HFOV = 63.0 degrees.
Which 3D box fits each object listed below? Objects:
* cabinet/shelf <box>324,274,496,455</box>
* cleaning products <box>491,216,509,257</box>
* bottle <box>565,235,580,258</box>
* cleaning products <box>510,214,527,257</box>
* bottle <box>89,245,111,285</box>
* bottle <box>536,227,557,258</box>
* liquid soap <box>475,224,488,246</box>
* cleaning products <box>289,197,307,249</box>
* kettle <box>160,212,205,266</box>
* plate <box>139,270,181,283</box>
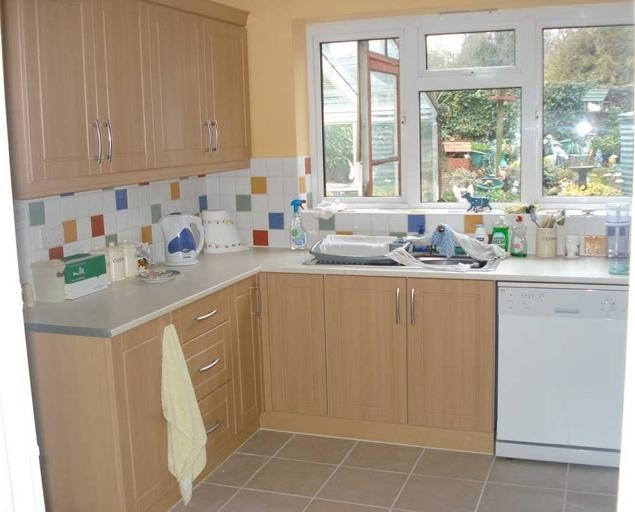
[{"bbox_3d":[0.554,0.590,2.926,0.961,0.940,0.380,1,4,15],"label":"cabinet/shelf"},{"bbox_3d":[1.106,-0.123,3.133,0.110,0.206,0.222,1,10,19],"label":"cleaning products"},{"bbox_3d":[1.492,-0.054,3.031,0.076,0.123,0.043,-1,10,6],"label":"bottle"},{"bbox_3d":[1.216,-0.123,3.132,0.093,0.241,0.128,2,10,22],"label":"cleaning products"},{"bbox_3d":[-1.175,0.049,2.788,0.091,0.194,0.353,-6,10,-23],"label":"bottle"},{"bbox_3d":[1.349,-0.079,3.054,0.112,0.174,0.061,1,10,17],"label":"bottle"},{"bbox_3d":[1.003,-0.130,3.182,0.080,0.119,0.203,1,10,17],"label":"liquid soap"},{"bbox_3d":[-0.146,-0.223,3.577,0.114,0.341,0.203,-2,10,-3],"label":"cleaning products"},{"bbox_3d":[-0.834,-0.117,3.292,0.324,0.375,0.253,1,10,-2],"label":"kettle"},{"bbox_3d":[-0.886,0.110,2.862,0.198,0.041,0.213,-2,10,-2],"label":"plate"}]
